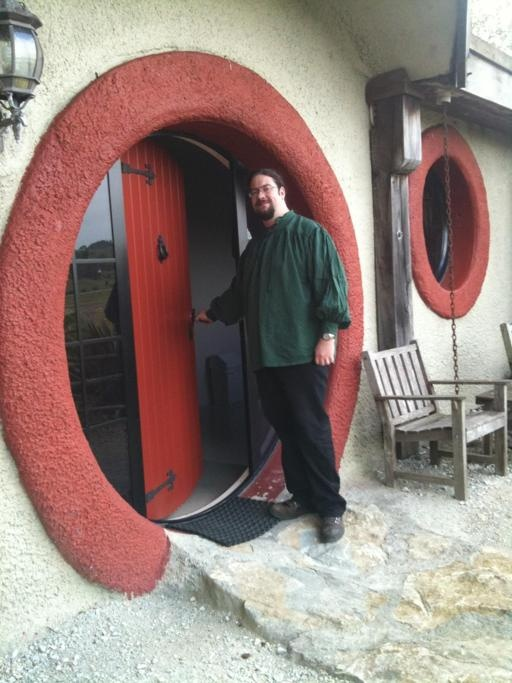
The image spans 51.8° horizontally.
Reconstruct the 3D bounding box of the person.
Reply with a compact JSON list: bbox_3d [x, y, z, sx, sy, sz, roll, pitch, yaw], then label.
[{"bbox_3d":[0.127,0.042,2.681,0.715,1.769,0.368,3,6,45],"label":"person"}]

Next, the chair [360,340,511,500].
[{"bbox_3d":[1.196,0.458,3.419,0.670,0.849,0.901,3,7,42],"label":"chair"}]

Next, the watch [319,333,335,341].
[{"bbox_3d":[0.337,-0.011,2.464,0.051,0.032,0.051,1,-8,-39],"label":"watch"}]

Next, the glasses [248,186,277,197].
[{"bbox_3d":[0.028,-0.735,2.582,0.062,0.020,0.065,-12,-2,16],"label":"glasses"}]

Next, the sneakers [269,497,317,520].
[{"bbox_3d":[0.190,0.871,2.752,0.228,0.091,0.084,9,-6,-17],"label":"sneakers"}]

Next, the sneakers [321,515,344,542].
[{"bbox_3d":[0.362,0.895,2.540,0.120,0.087,0.178,-1,5,7],"label":"sneakers"}]
